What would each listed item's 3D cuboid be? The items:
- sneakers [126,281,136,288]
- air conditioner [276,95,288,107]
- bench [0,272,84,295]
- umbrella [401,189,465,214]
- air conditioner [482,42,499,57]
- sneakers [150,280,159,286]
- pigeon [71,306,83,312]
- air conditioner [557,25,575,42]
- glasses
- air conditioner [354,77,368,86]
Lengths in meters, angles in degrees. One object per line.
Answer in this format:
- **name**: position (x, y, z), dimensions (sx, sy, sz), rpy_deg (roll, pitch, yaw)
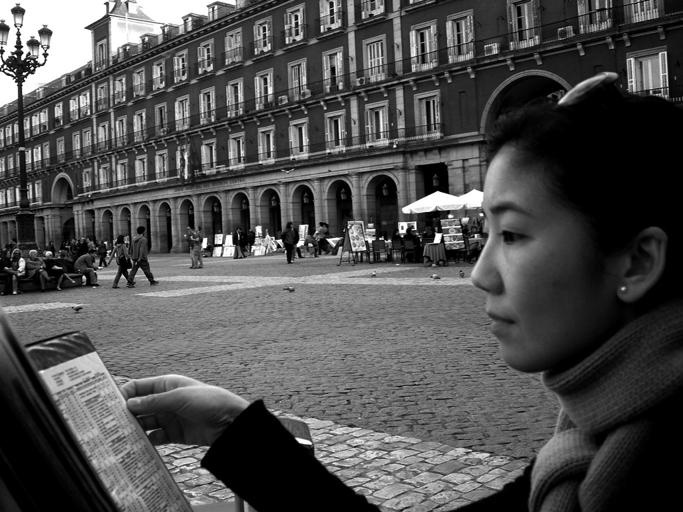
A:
- **sneakers**: position (-5.379, 0.740, 19.811), dimensions (0.131, 0.177, 0.412), rpy_deg (-1, -9, -6)
- **air conditioner**: position (-3.452, -9.007, 45.223), dimensions (0.834, 0.750, 0.457), rpy_deg (-7, -12, 37)
- **bench**: position (-7.881, 0.623, 20.315), dimensions (0.655, 0.548, 2.454), rpy_deg (-4, 4, 30)
- **umbrella**: position (3.065, -1.686, 25.195), dimensions (1.247, 0.433, 1.263), rpy_deg (-16, -2, 26)
- **air conditioner**: position (6.516, -8.964, 33.683), dimensions (0.227, 0.561, 0.860), rpy_deg (-8, 4, -36)
- **sneakers**: position (-4.861, 0.694, 20.127), dimensions (0.186, 0.106, 0.266), rpy_deg (12, 6, 24)
- **pigeon**: position (-4.722, 0.927, 13.811), dimensions (0.113, 0.155, 0.383), rpy_deg (-2, -1, -16)
- **air conditioner**: position (8.938, -8.889, 30.900), dimensions (0.247, 0.483, 0.836), rpy_deg (-7, 4, -24)
- **glasses**: position (0.465, -0.287, 1.442), dimensions (0.086, 0.045, 0.085), rpy_deg (-38, 7, -8)
- **air conditioner**: position (0.989, -8.981, 40.145), dimensions (0.573, 0.587, 0.358), rpy_deg (-4, -4, 39)
